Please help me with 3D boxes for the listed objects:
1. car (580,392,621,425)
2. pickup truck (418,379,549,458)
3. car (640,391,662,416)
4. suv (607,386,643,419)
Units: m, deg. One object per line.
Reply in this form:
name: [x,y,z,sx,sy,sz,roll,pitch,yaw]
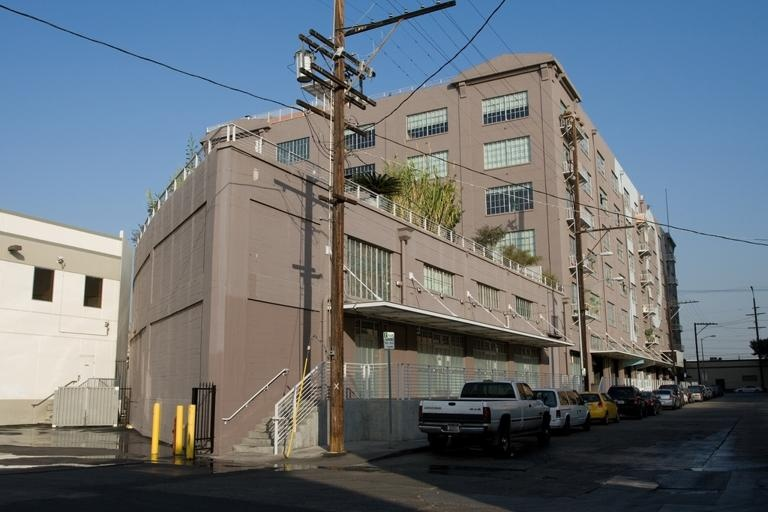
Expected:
car: [12.009,8.527,45.732,1.454,1.091,2.586,-5,-8,29]
pickup truck: [4.449,6.644,33.498,6.076,3.098,2.930,10,-20,-41]
car: [17.178,9.612,53.189,1.105,0.896,2.628,-3,-7,22]
suv: [15.021,9.054,50.583,1.449,1.436,3.000,-4,-7,25]
